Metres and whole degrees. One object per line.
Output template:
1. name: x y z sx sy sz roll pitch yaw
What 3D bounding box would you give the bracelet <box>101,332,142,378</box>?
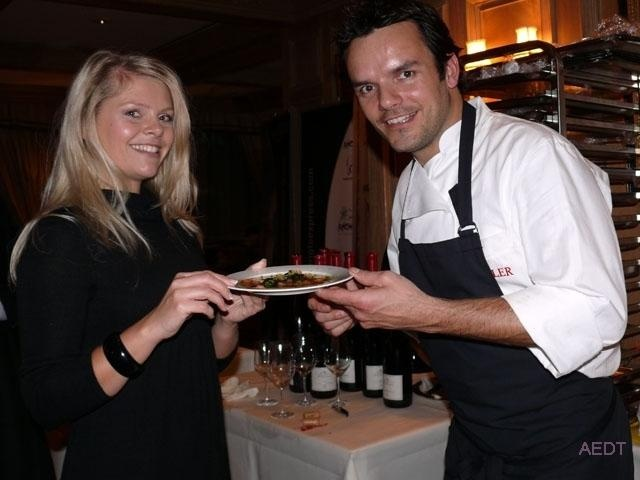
1. bracelet: -0.640 0.378 1.663 0.053 0.128 0.140 -33 -8 17
